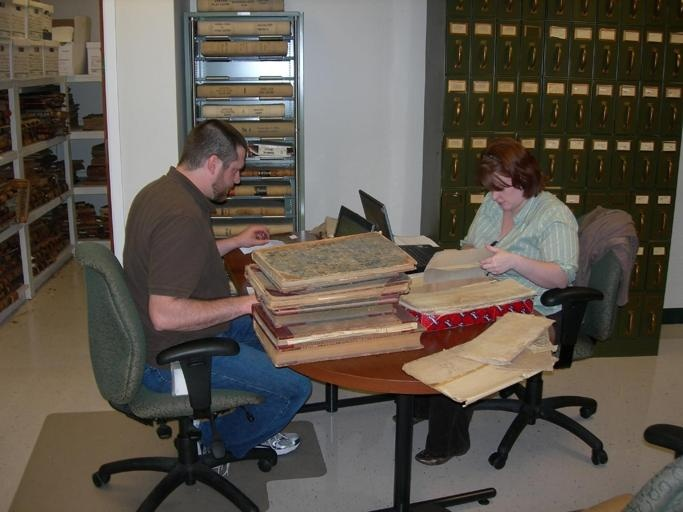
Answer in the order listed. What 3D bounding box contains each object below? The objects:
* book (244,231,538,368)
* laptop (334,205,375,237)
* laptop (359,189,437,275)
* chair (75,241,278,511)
[{"bbox_3d":[0.130,0.007,2.140,0.799,0.256,0.597,-9,18,-17],"label":"book"},{"bbox_3d":[0.054,-0.167,2.983,0.165,0.205,0.209,-14,6,-22],"label":"laptop"},{"bbox_3d":[0.351,-0.085,3.123,0.401,0.362,0.484,-9,21,-19],"label":"laptop"},{"bbox_3d":[-0.806,0.487,2.945,1.105,1.436,1.104,-3,11,-24],"label":"chair"}]
